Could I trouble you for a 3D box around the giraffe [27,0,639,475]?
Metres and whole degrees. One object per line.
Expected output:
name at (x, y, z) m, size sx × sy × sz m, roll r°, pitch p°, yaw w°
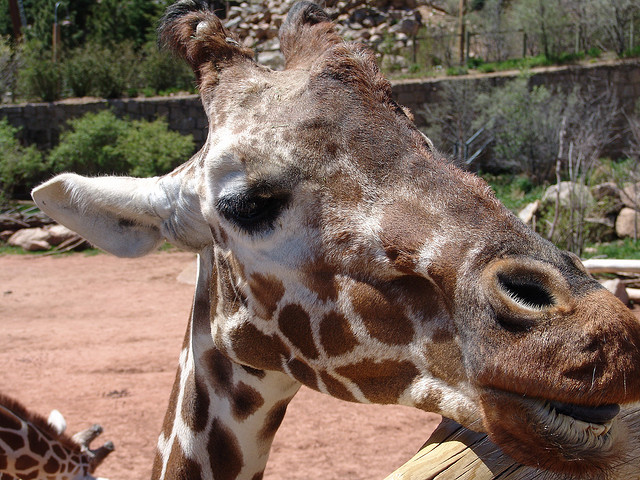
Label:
giraffe at (0.161, -0.060, 4.936) m, size 2.755 × 2.405 × 0.839 m, roll 5°, pitch 17°, yaw 32°
